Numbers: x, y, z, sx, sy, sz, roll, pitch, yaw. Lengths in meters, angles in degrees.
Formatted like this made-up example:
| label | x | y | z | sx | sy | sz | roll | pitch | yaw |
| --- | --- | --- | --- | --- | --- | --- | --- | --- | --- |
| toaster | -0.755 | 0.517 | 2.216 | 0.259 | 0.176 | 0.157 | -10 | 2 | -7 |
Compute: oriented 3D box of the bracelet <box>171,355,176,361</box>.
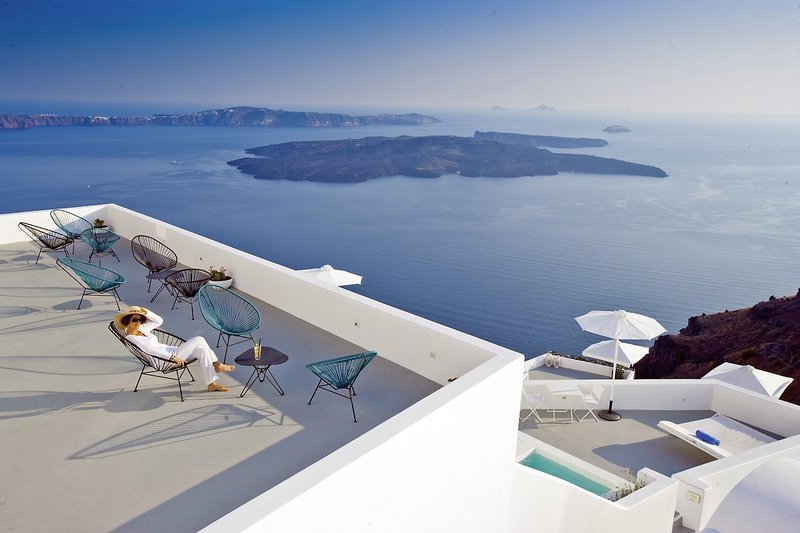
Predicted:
| label | x | y | z | sx | sy | sz | roll | pitch | yaw |
| --- | --- | --- | --- | --- | --- | --- | --- | --- | --- |
| bracelet | -2.442 | 0.989 | 5.611 | 0.036 | 0.042 | 0.090 | 5 | 5 | -7 |

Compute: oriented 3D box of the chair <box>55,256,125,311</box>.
| label | x | y | z | sx | sy | sz | roll | pitch | yaw |
| --- | --- | --- | --- | --- | --- | --- | --- | --- | --- |
| chair | -4.433 | 0.217 | 7.483 | 0.936 | 0.499 | 0.740 | 10 | 7 | -36 |

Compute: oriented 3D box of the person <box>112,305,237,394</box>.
| label | x | y | z | sx | sy | sz | roll | pitch | yaw |
| --- | --- | --- | --- | --- | --- | --- | --- | --- | --- |
| person | -2.546 | 0.949 | 5.831 | 1.435 | 0.736 | 0.460 | 10 | 18 | -2 |

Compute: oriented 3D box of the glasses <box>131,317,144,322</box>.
| label | x | y | z | sx | sy | sz | roll | pitch | yaw |
| --- | --- | --- | --- | --- | --- | --- | --- | --- | --- |
| glasses | -2.930 | 0.586 | 5.844 | 0.093 | 0.016 | 0.072 | 3 | 10 | 11 |

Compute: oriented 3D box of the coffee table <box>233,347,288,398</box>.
| label | x | y | z | sx | sy | sz | roll | pitch | yaw |
| --- | --- | --- | --- | --- | --- | --- | --- | --- | --- |
| coffee table | -1.553 | 1.173 | 5.811 | 0.539 | 0.239 | 0.413 | 2 | 3 | -4 |

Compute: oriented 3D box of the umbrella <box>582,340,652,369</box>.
| label | x | y | z | sx | sy | sz | roll | pitch | yaw |
| --- | --- | --- | --- | --- | --- | --- | --- | --- | --- |
| umbrella | 5.481 | 2.317 | 13.410 | 1.790 | 0.437 | 1.652 | -3 | 8 | 27 |

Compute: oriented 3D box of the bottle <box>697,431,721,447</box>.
| label | x | y | z | sx | sy | sz | roll | pitch | yaw |
| --- | --- | --- | --- | --- | --- | --- | --- | --- | --- |
| bottle | 5.790 | 3.256 | 9.814 | 0.408 | 0.171 | 0.313 | 13 | 22 | 38 |

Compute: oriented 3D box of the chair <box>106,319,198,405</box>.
| label | x | y | z | sx | sy | sz | roll | pitch | yaw |
| --- | --- | --- | --- | --- | --- | --- | --- | --- | --- |
| chair | -2.664 | 1.044 | 5.744 | 0.842 | 0.443 | 0.742 | 12 | 5 | 25 |

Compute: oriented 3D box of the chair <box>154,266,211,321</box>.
| label | x | y | z | sx | sy | sz | roll | pitch | yaw |
| --- | --- | --- | --- | --- | --- | --- | --- | --- | --- |
| chair | -3.135 | 0.309 | 7.568 | 0.645 | 0.371 | 0.446 | 2 | 17 | -12 |

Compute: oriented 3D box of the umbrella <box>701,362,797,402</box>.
| label | x | y | z | sx | sy | sz | roll | pitch | yaw |
| --- | --- | --- | --- | --- | --- | --- | --- | --- | --- |
| umbrella | 9.174 | 3.056 | 13.962 | 2.486 | 0.642 | 2.088 | 0 | 2 | -3 |

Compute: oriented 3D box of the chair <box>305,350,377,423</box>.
| label | x | y | z | sx | sy | sz | roll | pitch | yaw |
| --- | --- | --- | --- | --- | --- | --- | --- | --- | --- |
| chair | -0.568 | 1.230 | 5.672 | 0.743 | 0.581 | 0.635 | 3 | -14 | 41 |

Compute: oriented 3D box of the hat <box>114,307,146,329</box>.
| label | x | y | z | sx | sy | sz | roll | pitch | yaw |
| --- | --- | --- | --- | --- | --- | --- | --- | --- | --- |
| hat | -3.085 | 0.539 | 5.880 | 0.356 | 0.282 | 0.082 | 1 | 49 | -32 |

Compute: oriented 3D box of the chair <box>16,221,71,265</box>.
| label | x | y | z | sx | sy | sz | roll | pitch | yaw |
| --- | --- | --- | --- | --- | --- | --- | --- | --- | --- |
| chair | -6.504 | -0.537 | 9.554 | 1.168 | 0.595 | 1.073 | -9 | 23 | -27 |
